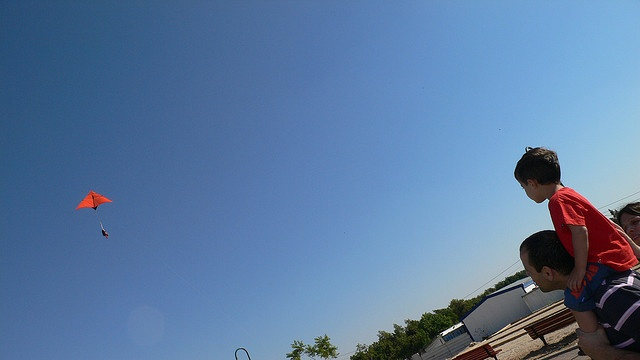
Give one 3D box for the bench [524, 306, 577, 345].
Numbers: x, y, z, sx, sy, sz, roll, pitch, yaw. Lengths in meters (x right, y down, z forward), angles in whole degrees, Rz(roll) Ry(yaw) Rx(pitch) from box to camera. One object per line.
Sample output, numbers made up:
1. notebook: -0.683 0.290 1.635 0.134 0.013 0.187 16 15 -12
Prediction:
1. bench: 5.111 3.387 8.930 0.494 0.703 1.107 -28 -16 -47
